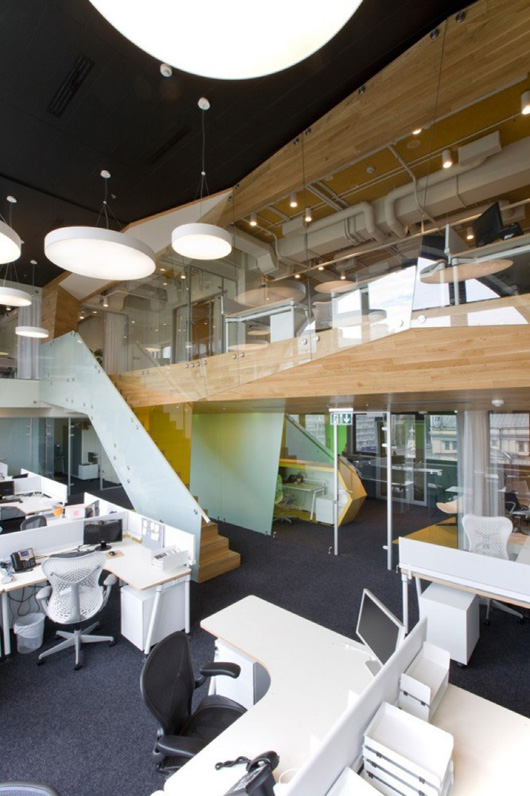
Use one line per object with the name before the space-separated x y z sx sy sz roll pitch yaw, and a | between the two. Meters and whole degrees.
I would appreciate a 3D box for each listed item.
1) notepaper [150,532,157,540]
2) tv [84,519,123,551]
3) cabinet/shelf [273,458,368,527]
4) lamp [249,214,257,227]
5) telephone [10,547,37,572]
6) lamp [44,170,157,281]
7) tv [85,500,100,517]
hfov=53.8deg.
notepaper | -1.206 1.524 5.715 0.062 0.069 0.083 0 3 5
tv | -1.772 1.515 5.696 0.269 0.210 0.080 1 -2 -38
cabinet/shelf | 0.915 1.672 9.230 1.549 1.198 0.618 0 1 29
lamp | -0.172 -2.639 7.811 0.080 0.098 0.081 8 -6 -30
telephone | -2.292 1.551 4.982 0.217 0.136 0.315 -1 1 -31
lamp | -1.350 -1.204 4.359 0.824 0.338 0.988 -1 1 -12
tv | -2.129 1.402 6.474 0.239 0.127 0.148 -5 -7 43
